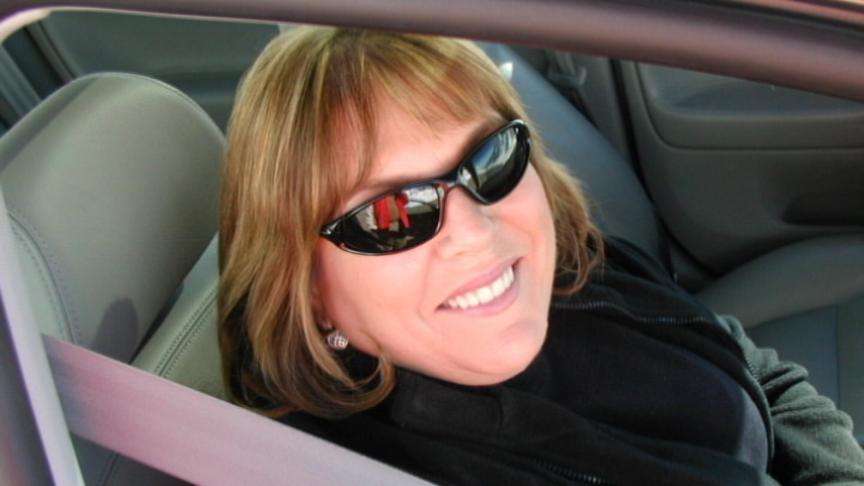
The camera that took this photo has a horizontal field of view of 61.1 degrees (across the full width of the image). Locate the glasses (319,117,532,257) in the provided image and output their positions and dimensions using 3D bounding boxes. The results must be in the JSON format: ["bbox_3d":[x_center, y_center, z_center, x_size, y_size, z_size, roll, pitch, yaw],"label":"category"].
[{"bbox_3d":[0.019,-0.112,1.870,0.611,0.139,0.165,-29,63,-10],"label":"glasses"}]
